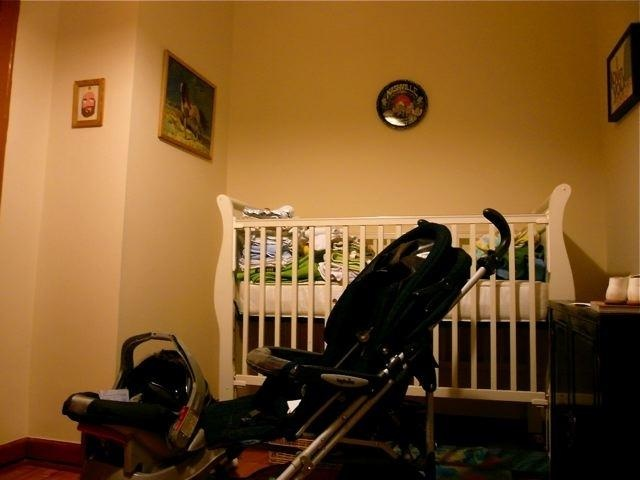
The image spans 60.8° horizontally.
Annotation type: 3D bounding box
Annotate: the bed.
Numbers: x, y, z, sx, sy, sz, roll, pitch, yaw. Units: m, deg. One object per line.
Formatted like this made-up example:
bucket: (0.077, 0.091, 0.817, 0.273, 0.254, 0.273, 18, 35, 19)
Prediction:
bed: (0.184, 0.467, 3.571, 1.693, 1.165, 0.984, 0, -8, -3)
